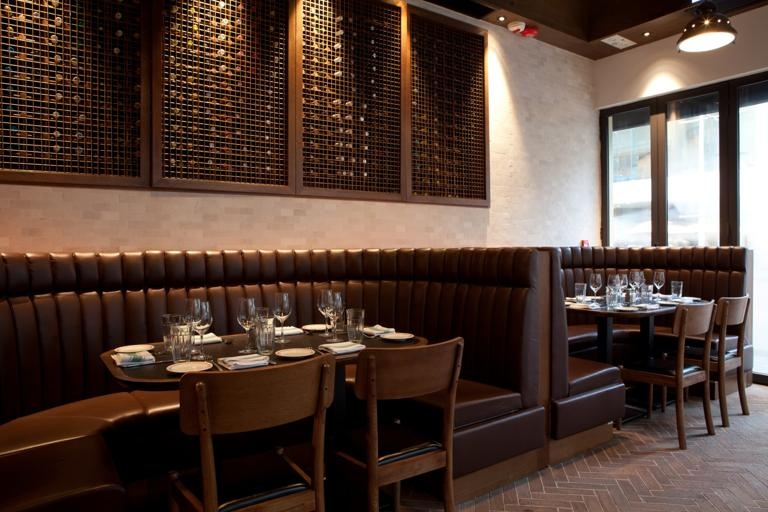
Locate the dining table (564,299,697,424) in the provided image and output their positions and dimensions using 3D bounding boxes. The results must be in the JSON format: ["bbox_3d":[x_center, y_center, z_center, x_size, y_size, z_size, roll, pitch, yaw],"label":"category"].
[{"bbox_3d":[2.270,0.735,5.534,1.002,1.067,1.233,-7,7,-37],"label":"dining table"}]

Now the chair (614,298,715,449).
[{"bbox_3d":[2.714,0.951,5.279,0.762,1.258,1.227,9,15,32],"label":"chair"}]

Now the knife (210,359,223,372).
[{"bbox_3d":[-1.051,0.688,3.595,0.040,0.024,0.360,-1,2,-14],"label":"knife"}]

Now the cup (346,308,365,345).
[{"bbox_3d":[-0.219,0.512,4.205,0.191,0.310,0.196,0,-7,0],"label":"cup"}]
